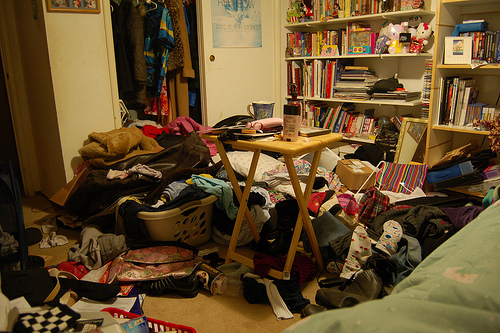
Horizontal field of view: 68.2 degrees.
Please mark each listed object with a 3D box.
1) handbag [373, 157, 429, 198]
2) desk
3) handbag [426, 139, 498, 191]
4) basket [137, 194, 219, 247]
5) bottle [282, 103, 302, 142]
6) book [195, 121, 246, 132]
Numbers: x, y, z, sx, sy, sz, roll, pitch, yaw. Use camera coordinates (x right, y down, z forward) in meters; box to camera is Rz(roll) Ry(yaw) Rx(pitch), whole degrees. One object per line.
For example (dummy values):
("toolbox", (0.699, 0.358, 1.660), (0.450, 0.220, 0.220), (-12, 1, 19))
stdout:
("handbag", (1.461, 0.111, 3.602), (0.341, 0.346, 0.106), (12, -14, 27))
("desk", (0.145, 0.250, 2.619), (0.782, 0.880, 0.681), (8, 14, 42))
("handbag", (1.954, 0.006, 3.398), (0.532, 0.187, 0.437), (-20, 8, -39))
("basket", (-0.542, 0.332, 2.809), (0.445, 0.318, 0.482), (-10, 9, -37))
("bottle", (0.264, -0.288, 2.361), (0.110, 0.229, 0.153), (1, 17, 6))
("book", (-0.276, -0.365, 3.350), (0.292, 0.067, 0.267), (10, 17, 41))
